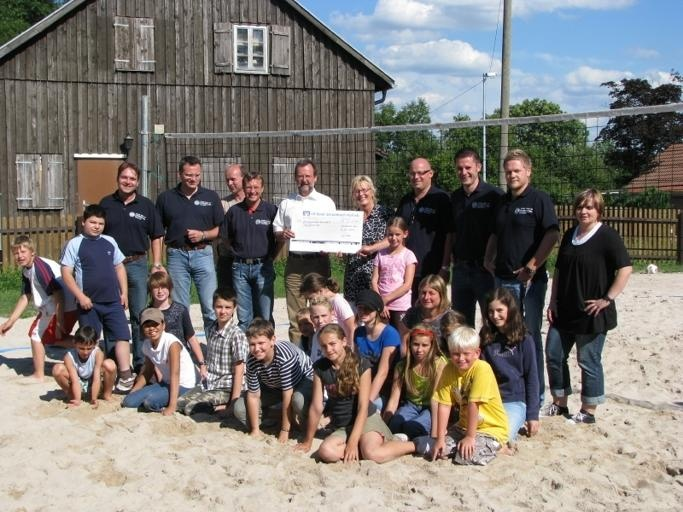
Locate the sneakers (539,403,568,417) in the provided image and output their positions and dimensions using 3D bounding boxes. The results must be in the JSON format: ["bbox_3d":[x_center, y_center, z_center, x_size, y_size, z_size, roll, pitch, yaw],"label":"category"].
[{"bbox_3d":[2.504,1.807,11.170,0.338,0.183,0.149,2,-1,9],"label":"sneakers"}]

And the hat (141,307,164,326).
[{"bbox_3d":[-2.231,0.724,11.321,0.214,0.198,0.394,-5,-5,-2],"label":"hat"}]

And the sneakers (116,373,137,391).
[{"bbox_3d":[-2.666,1.558,11.820,0.302,0.259,0.116,8,4,0],"label":"sneakers"}]

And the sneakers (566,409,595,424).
[{"bbox_3d":[2.787,1.850,11.000,0.316,0.183,0.128,1,-3,2],"label":"sneakers"}]

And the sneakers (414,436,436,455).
[{"bbox_3d":[0.930,2.075,10.422,0.205,0.244,0.161,-5,-11,3],"label":"sneakers"}]
